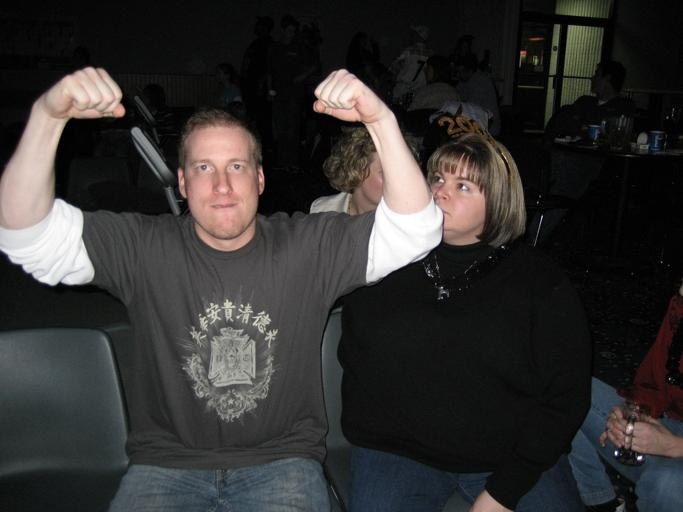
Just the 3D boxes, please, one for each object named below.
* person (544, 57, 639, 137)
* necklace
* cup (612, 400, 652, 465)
[{"bbox_3d":[2.613,-1.644,5.815,0.823,0.747,0.608,6,20,13],"label":"person"},{"bbox_3d":[0.424,0.057,2.011,0.176,0.079,0.246,29,75,42],"label":"necklace"},{"bbox_3d":[1.117,0.687,2.137,0.107,0.241,0.080,12,22,28],"label":"cup"}]
